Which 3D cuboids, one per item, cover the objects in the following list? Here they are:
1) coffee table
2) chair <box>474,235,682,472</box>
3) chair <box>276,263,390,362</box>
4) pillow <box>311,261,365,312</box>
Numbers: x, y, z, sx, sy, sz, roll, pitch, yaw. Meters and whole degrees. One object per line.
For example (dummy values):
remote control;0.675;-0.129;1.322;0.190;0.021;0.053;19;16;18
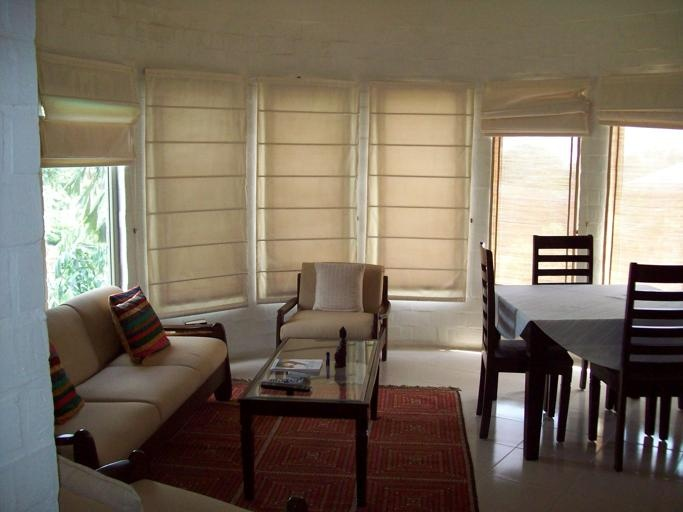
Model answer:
coffee table;-0.166;0.825;3.444;0.765;0.523;1.213;0;7;5
chair;1.482;0.577;4.049;0.993;1.281;1.260;5;12;21
chair;-0.061;0.537;5.166;1.084;0.811;0.968;-2;9;-8
pillow;-0.022;0.295;5.269;0.474;0.422;0.159;0;-16;3
